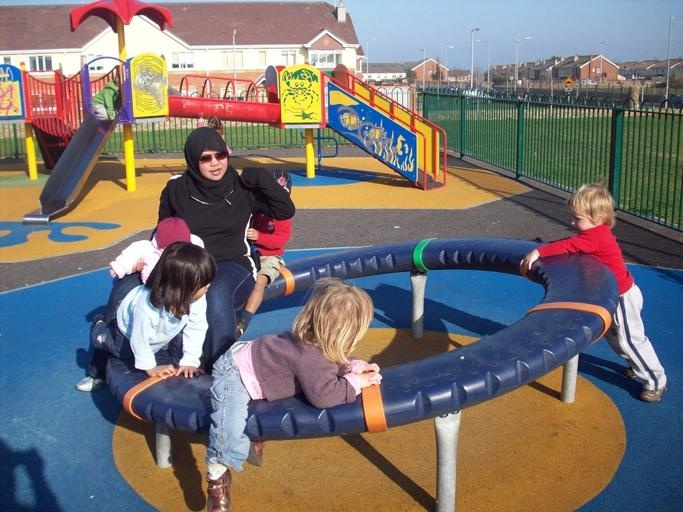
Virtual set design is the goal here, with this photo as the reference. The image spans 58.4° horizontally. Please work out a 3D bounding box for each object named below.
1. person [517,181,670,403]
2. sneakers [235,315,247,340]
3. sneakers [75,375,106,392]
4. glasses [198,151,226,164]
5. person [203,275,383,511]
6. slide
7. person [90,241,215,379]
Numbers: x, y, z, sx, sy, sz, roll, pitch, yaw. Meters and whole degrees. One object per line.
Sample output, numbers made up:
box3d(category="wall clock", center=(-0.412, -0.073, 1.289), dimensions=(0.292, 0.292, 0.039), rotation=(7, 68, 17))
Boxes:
box3d(category="person", center=(1.993, 0.260, 4.711), dimensions=(1.009, 1.590, 0.485), rotation=(11, 20, 40))
box3d(category="sneakers", center=(-0.794, 0.575, 4.824), dimensions=(0.053, 0.071, 0.168), rotation=(-2, 11, 3))
box3d(category="sneakers", center=(-2.041, 1.021, 4.944), dimensions=(0.175, 0.077, 0.121), rotation=(-3, 41, -22))
box3d(category="glasses", center=(-0.957, -0.750, 4.634), dimensions=(0.240, 0.081, 0.072), rotation=(-14, 20, -36))
box3d(category="person", center=(-0.265, 0.522, 3.838), dimensions=(1.163, 1.528, 1.048), rotation=(-2, 35, -9))
box3d(category="slide", center=(-4.781, -1.591, 11.105), dimensions=(0.648, 0.452, 3.503), rotation=(3, 49, 5))
box3d(category="person", center=(-1.265, 0.310, 4.059), dimensions=(0.922, 0.858, 0.453), rotation=(8, 18, 32))
